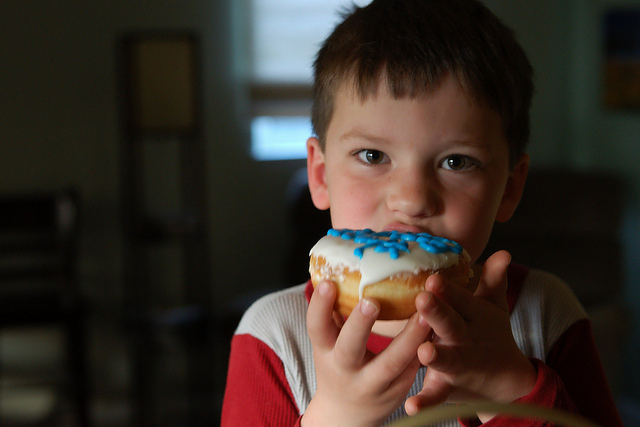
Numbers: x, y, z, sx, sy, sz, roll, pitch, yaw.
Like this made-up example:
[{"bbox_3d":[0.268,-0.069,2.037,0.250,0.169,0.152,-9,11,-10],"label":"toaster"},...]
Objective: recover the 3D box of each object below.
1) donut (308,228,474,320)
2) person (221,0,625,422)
[{"bbox_3d":[0.142,0.122,1.427,0.320,0.155,0.361,6,9,27],"label":"donut"},{"bbox_3d":[0.259,0.013,1.458,1.004,1.131,0.597,1,7,-5],"label":"person"}]
